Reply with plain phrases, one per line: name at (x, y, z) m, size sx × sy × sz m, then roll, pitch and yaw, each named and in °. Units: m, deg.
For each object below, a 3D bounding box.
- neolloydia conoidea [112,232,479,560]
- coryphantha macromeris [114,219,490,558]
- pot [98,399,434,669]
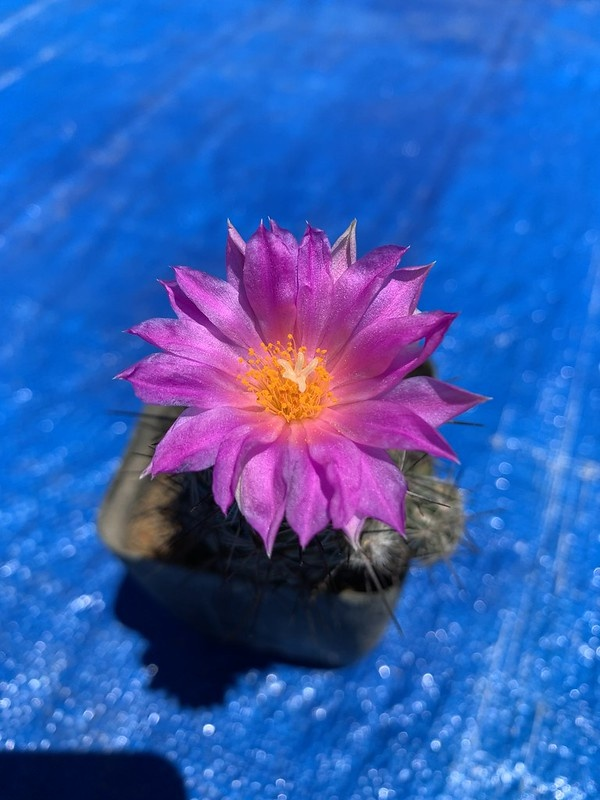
neolloydia conoidea at (-0.006, 0.001, 0.673) m, size 0.275 × 0.216 × 0.296 m, roll -11°, pitch 56°, yaw -10°
coryphantha macromeris at (-0.002, -0.012, 0.652) m, size 0.343 × 0.135 × 0.284 m, roll 7°, pitch 76°, yaw 3°
pot at (-0.039, 0.205, 0.977) m, size 0.417 × 0.295 × 0.312 m, roll -17°, pitch 29°, yaw -27°
